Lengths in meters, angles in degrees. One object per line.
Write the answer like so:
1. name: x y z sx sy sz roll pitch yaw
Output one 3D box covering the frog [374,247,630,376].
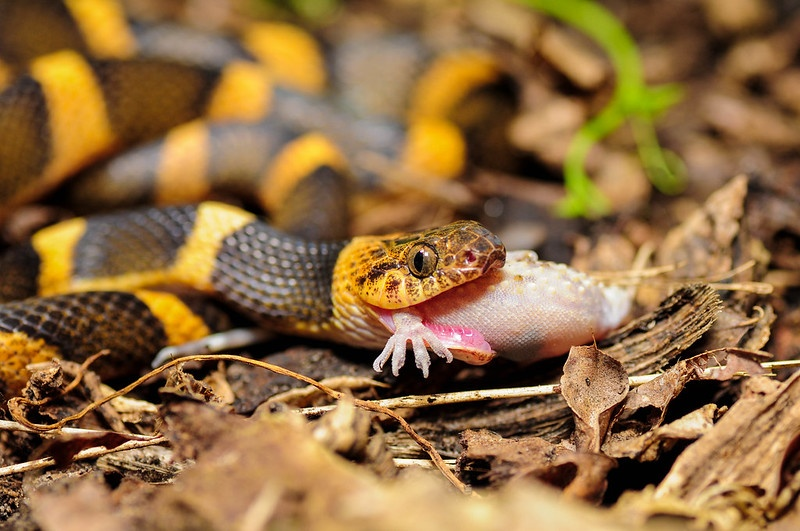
1. frog: 0.347 0.166 2.804 0.608 0.223 0.419 -13 7 -12
